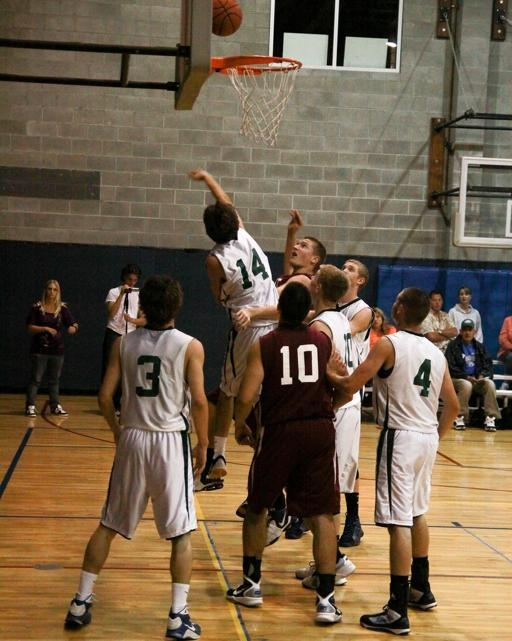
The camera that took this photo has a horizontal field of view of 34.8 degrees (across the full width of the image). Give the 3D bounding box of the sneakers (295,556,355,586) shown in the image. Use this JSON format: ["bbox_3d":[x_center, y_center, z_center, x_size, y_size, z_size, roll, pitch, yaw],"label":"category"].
[{"bbox_3d":[0.388,1.326,4.354,0.379,0.181,0.132,-3,2,4],"label":"sneakers"}]

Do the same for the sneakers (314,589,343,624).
[{"bbox_3d":[0.344,1.336,3.813,0.146,0.167,0.147,2,2,-9],"label":"sneakers"}]

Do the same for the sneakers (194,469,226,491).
[{"bbox_3d":[-0.313,1.051,5.265,0.087,0.106,0.238,7,-14,-42],"label":"sneakers"}]

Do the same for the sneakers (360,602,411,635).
[{"bbox_3d":[0.591,1.360,3.783,0.236,0.144,0.136,5,3,39],"label":"sneakers"}]

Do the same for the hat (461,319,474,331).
[{"bbox_3d":[2.624,0.043,10.172,0.199,0.153,0.333,-1,5,12],"label":"hat"}]

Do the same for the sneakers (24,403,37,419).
[{"bbox_3d":[-2.538,1.016,9.176,0.111,0.146,0.336,1,-8,-17],"label":"sneakers"}]

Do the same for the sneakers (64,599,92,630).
[{"bbox_3d":[-0.790,1.311,3.657,0.063,0.140,0.193,3,-1,4],"label":"sneakers"}]

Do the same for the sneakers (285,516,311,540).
[{"bbox_3d":[0.253,1.340,5.316,0.131,0.182,0.410,2,-13,11],"label":"sneakers"}]

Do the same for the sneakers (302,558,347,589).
[{"bbox_3d":[0.409,1.345,4.368,0.323,0.155,0.108,-2,-3,-10],"label":"sneakers"}]

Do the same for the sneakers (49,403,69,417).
[{"bbox_3d":[-2.283,1.033,9.419,0.106,0.140,0.313,-2,2,-40],"label":"sneakers"}]

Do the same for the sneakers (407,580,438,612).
[{"bbox_3d":[0.803,1.373,4.080,0.067,0.143,0.203,-1,3,-10],"label":"sneakers"}]
